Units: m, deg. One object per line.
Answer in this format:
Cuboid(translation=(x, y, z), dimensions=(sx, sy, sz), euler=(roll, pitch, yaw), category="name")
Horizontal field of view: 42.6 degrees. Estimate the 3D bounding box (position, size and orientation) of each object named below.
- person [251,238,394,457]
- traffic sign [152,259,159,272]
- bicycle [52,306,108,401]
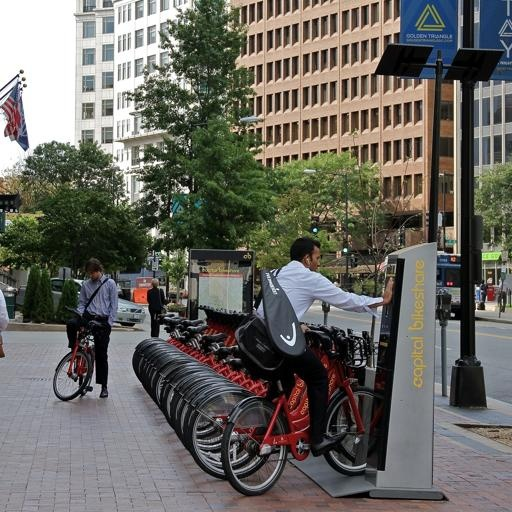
Cuboid(translation=(0.450, 0.636, 4.678), dimensions=(0.928, 1.557, 0.598), euler=(1, 0, 6), category="person")
Cuboid(translation=(-5.699, 0.525, 37.263), dimensions=(0.296, 0.487, 0.692), euler=(1, 0, -17), category="traffic sign")
Cuboid(translation=(-2.519, 1.421, 9.362), dimensions=(0.678, 1.083, 0.557), euler=(1, 0, -3), category="bicycle")
